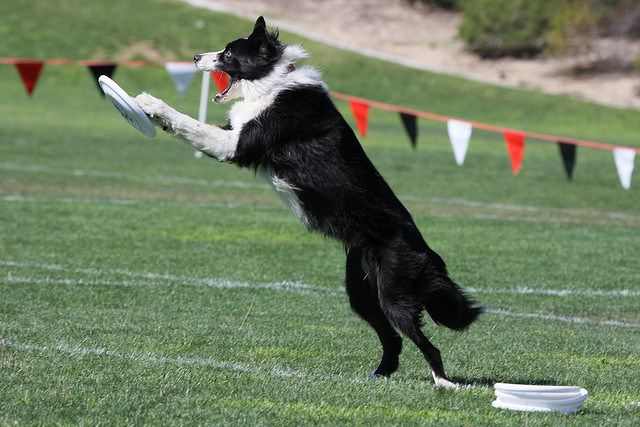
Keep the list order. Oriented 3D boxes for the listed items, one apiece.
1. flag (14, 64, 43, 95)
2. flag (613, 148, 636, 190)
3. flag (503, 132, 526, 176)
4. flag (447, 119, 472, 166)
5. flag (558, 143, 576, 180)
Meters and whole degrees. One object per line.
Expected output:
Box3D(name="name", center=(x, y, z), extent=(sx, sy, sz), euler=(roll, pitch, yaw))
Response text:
Box3D(name="flag", center=(-4.780, -2.205, 20.541), extent=(0.355, 0.540, 0.515), euler=(-2, 18, -12))
Box3D(name="flag", center=(3.944, -0.609, 16.329), extent=(0.364, 0.430, 0.132), euler=(9, 26, 35))
Box3D(name="flag", center=(2.594, -0.799, 16.989), extent=(0.278, 0.632, 0.136), euler=(4, 20, 4))
Box3D(name="flag", center=(1.833, -0.979, 16.676), extent=(0.122, 0.420, 0.424), euler=(-10, 17, -41))
Box3D(name="flag", center=(3.298, -0.710, 16.914), extent=(0.235, 0.500, 0.212), euler=(5, 20, 7))
